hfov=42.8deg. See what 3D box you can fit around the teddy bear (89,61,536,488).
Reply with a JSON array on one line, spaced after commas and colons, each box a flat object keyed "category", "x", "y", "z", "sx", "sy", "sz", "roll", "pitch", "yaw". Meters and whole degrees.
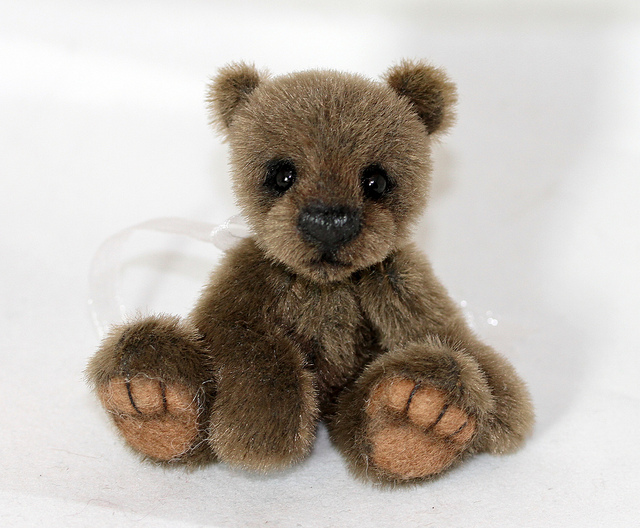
[{"category": "teddy bear", "x": 0.066, "y": 0.013, "z": 1.628, "sx": 0.845, "sy": 0.744, "sz": 0.620, "roll": 13, "pitch": 29, "yaw": 8}]
